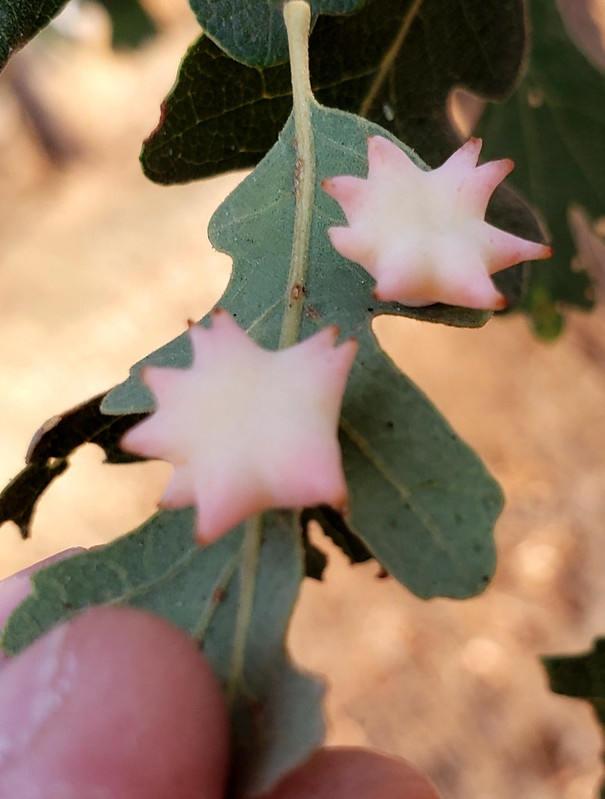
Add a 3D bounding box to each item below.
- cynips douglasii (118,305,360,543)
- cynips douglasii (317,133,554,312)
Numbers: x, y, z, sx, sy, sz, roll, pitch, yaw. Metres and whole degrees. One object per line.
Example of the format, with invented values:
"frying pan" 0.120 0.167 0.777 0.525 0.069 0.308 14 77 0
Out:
"cynips douglasii" -0.024 0.020 0.379 0.086 0.084 0.079 2 47 7
"cynips douglasii" 0.044 -0.078 0.417 0.091 0.088 0.026 -4 76 -48
